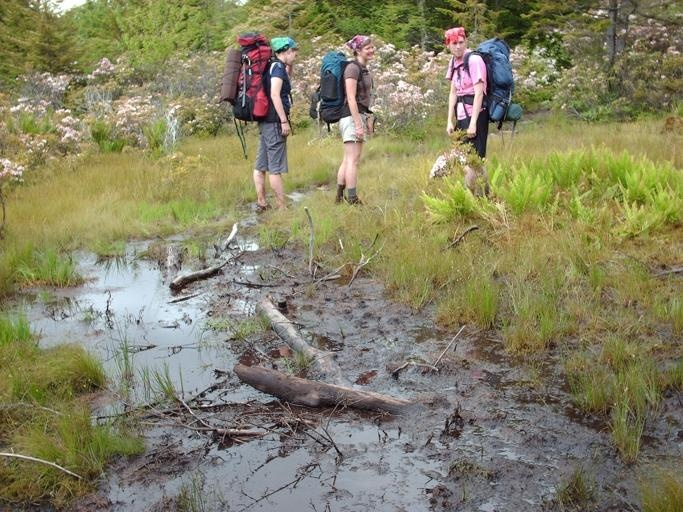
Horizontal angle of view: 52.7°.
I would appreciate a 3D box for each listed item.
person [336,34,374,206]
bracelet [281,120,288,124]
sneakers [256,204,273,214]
[{"bbox_3d":[0.198,-2.130,11.107,0.686,2.637,0.931,-3,13,0],"label":"person"},{"bbox_3d":[-0.892,-2.111,10.902,0.102,0.056,0.080,-9,16,-14],"label":"bracelet"},{"bbox_3d":[-1.337,-0.815,12.024,0.293,0.158,0.129,-4,34,-11],"label":"sneakers"}]
